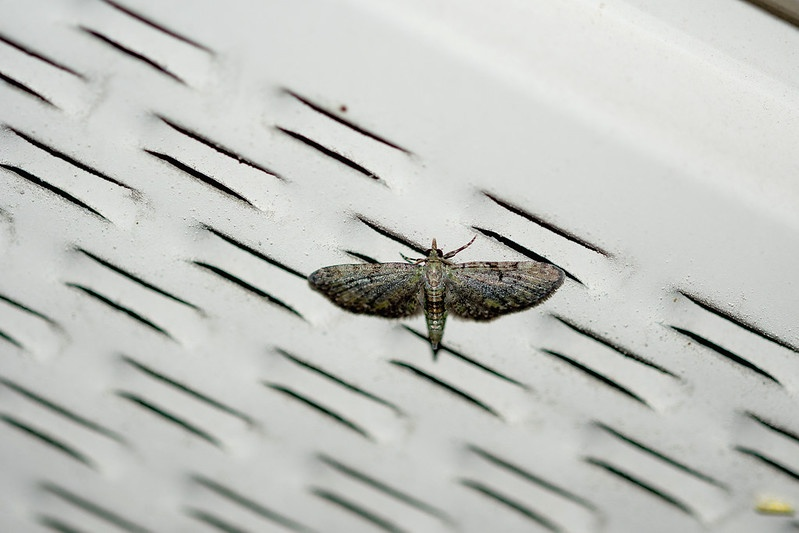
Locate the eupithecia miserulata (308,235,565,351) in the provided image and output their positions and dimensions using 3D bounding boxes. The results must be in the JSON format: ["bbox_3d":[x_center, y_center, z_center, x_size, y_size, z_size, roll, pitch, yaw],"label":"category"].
[{"bbox_3d":[0.109,0.065,2.874,0.538,0.122,0.286,0,81,2],"label":"eupithecia miserulata"}]
